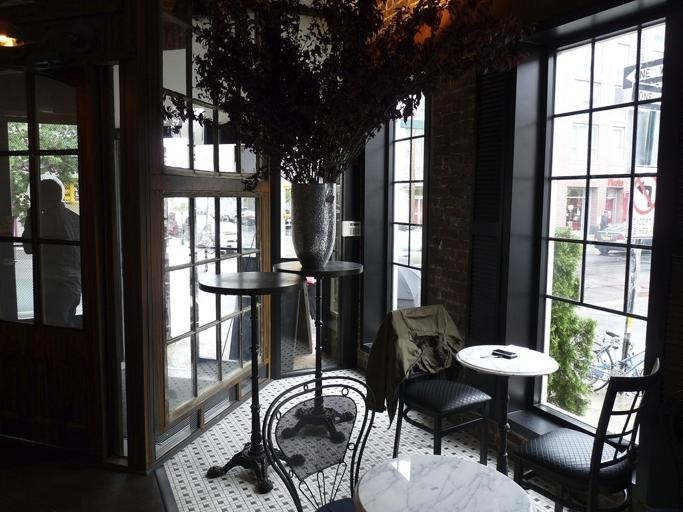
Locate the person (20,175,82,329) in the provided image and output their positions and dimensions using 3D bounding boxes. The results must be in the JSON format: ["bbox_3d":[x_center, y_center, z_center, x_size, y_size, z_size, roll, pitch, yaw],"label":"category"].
[{"bbox_3d":[-2.021,-0.033,3.612,0.490,1.031,0.157,8,14,28],"label":"person"}]
